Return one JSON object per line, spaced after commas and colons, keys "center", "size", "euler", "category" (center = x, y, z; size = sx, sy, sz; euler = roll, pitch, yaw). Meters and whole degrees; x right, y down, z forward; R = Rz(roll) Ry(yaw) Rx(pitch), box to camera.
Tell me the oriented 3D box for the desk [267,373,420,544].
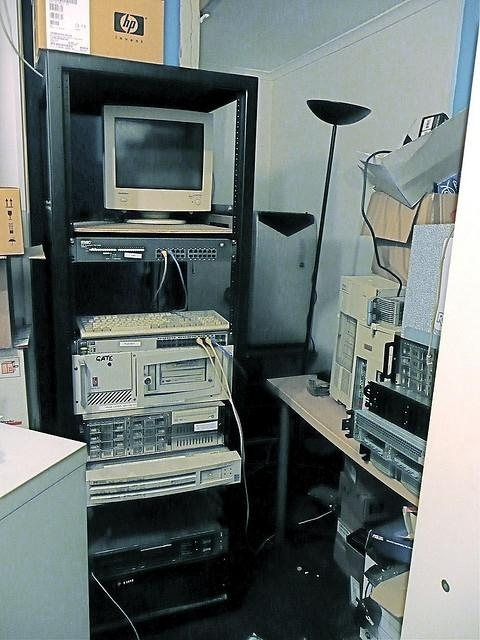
{"center": [0.278, 0.395, 1.408], "size": [0.270, 0.357, 0.545], "euler": [-1, 10, -16], "category": "desk"}
